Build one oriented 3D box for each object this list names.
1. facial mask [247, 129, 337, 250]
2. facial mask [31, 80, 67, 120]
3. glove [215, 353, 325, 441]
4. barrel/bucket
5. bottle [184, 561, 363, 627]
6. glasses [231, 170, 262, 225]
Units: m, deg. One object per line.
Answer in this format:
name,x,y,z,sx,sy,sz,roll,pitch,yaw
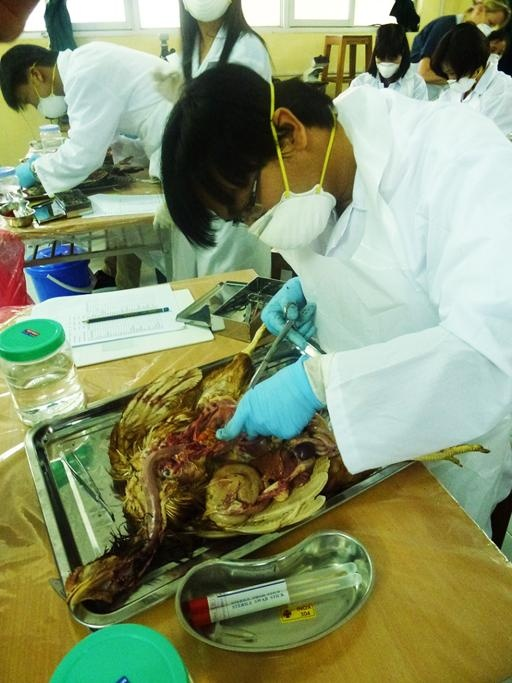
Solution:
facial mask,0.071,-0.304,1.097,0.144,0.222,0.148,-6,32,-6
facial mask,-1.039,-1.213,2.716,0.161,0.160,0.158,0,52,-2
glove,0.042,0.126,1.004,0.206,0.068,0.119,-40,67,6
barrel/bucket,-0.898,-0.318,2.411,0.222,0.245,0.236,-1,39,1
bottle,0.021,0.362,0.751,0.233,0.040,0.041,-9,9,-15
glasses,-0.019,-0.261,0.978,0.043,0.078,0.031,15,31,-9
